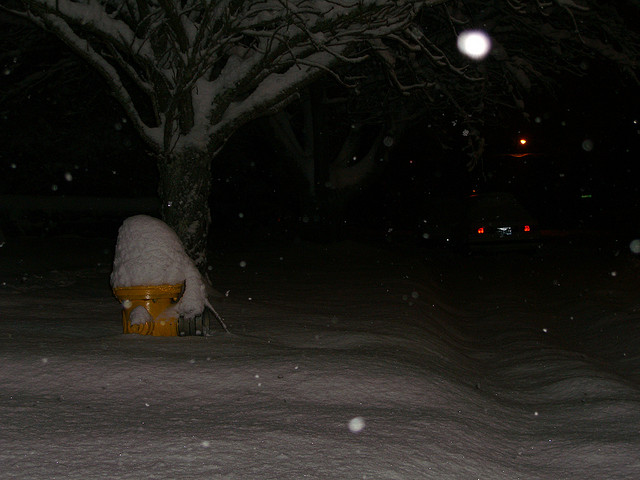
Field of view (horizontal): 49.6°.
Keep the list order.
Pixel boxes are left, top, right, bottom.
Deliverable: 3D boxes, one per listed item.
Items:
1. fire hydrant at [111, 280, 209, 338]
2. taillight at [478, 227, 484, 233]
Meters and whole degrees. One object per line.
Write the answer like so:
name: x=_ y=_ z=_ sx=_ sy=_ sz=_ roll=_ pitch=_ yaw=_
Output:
fire hydrant: x=-2.166 y=0.955 z=9.524 sx=1.250 sy=0.764 sz=0.307 roll=4 pitch=7 yaw=-17
taillight: x=4.903 y=-0.286 z=21.173 sx=0.145 sy=0.142 sz=0.053 roll=7 pitch=7 yaw=9
